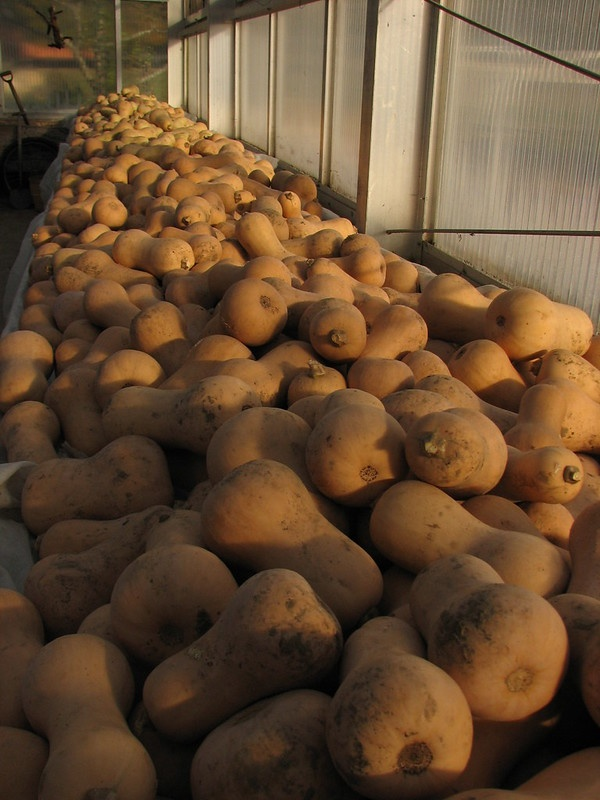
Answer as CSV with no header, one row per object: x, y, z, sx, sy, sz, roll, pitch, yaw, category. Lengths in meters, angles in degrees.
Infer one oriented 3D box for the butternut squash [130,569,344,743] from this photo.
-0.077,0.371,1.053,0.334,0.200,0.196,-28,50,-7,butternut squash
